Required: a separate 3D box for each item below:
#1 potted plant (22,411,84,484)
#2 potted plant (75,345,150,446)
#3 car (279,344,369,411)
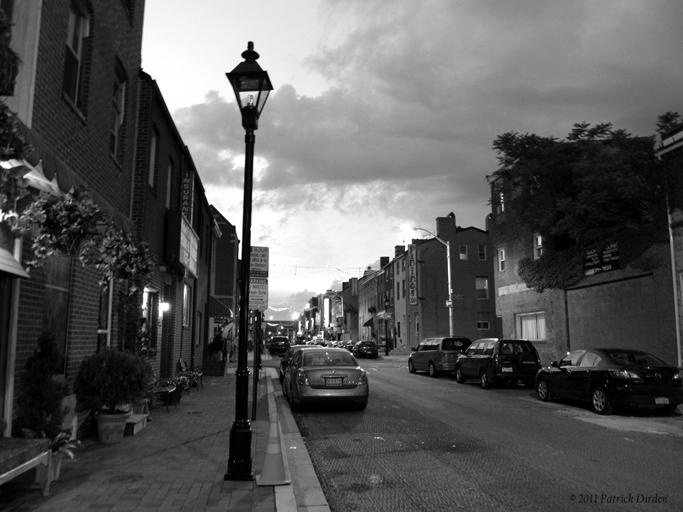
[{"bbox_3d":[-4.323,2.809,9.526,0.563,0.463,0.544,13,25,-35],"label":"potted plant"},{"bbox_3d":[-4.282,2.609,11.896,1.308,1.686,0.507,4,-13,-21],"label":"potted plant"},{"bbox_3d":[-0.415,3.169,16.888,2.202,1.741,1.512,-4,-13,12],"label":"car"}]
